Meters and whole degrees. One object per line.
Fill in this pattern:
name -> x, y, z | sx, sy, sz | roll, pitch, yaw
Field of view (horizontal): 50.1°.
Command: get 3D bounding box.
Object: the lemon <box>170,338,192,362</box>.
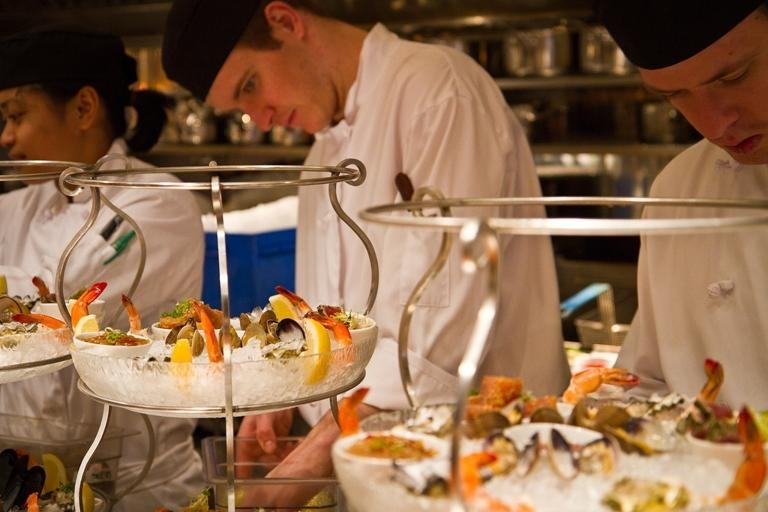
lemon -> -0.351, 0.162, 1.434 | 0.038, 0.057, 0.035 | 1, -6, -5

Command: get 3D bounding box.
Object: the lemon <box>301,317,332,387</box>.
lemon -> -0.122, 0.167, 1.465 | 0.047, 0.109, 0.062 | -3, 8, -6

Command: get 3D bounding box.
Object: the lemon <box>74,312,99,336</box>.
lemon -> -0.567, 0.131, 1.565 | 0.043, 0.032, 0.067 | -5, 9, -21

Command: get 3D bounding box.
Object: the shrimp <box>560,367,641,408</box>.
shrimp -> 0.362, 0.218, 1.404 | 0.130, 0.033, 0.089 | -17, 18, -3

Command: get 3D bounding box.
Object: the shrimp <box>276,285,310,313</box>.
shrimp -> -0.200, 0.093, 1.817 | 0.106, 0.022, 0.028 | 45, 3, 19

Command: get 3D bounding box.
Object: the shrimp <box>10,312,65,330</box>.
shrimp -> -0.694, 0.127, 1.641 | 0.104, 0.033, 0.057 | 0, 9, 14

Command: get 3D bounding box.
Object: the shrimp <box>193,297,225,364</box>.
shrimp -> -0.324, 0.140, 1.513 | 0.028, 0.116, 0.023 | -12, 4, -7

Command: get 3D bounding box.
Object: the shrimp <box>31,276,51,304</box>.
shrimp -> -0.830, 0.081, 1.987 | 0.017, 0.021, 0.077 | 11, 34, -47
